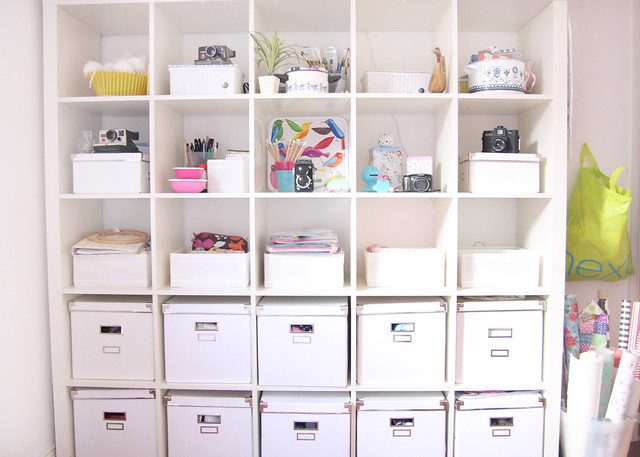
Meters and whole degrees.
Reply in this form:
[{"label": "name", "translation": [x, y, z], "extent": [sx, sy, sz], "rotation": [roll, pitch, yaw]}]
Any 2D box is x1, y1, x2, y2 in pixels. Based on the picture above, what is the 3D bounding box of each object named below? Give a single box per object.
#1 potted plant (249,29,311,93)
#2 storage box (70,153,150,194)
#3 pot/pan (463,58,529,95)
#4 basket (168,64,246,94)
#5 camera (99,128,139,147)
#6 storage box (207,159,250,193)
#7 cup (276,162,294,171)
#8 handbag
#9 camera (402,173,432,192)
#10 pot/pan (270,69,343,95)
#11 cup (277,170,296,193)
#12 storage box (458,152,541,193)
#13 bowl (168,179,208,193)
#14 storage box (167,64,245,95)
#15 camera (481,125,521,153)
[{"label": "potted plant", "translation": [-0.248, -0.862, 3.218], "extent": [0.296, 0.283, 0.237], "rotation": [6, 8, -1]}, {"label": "storage box", "translation": [-1.116, -0.289, 3.193], "extent": [0.324, 0.161, 0.230], "rotation": [0, 1, -3]}, {"label": "pot/pan", "translation": [0.910, -0.818, 3.297], "extent": [0.333, 0.155, 0.314], "rotation": [0, 13, 7]}, {"label": "basket", "translation": [-0.582, -0.778, 3.313], "extent": [0.395, 0.155, 0.298], "rotation": [3, 4, 14]}, {"label": "camera", "translation": [-1.074, -0.482, 3.251], "extent": [0.193, 0.090, 0.099], "rotation": [0, 4, -20]}, {"label": "storage box", "translation": [-0.490, -0.275, 3.207], "extent": [0.194, 0.149, 0.188], "rotation": [0, 4, -4]}, {"label": "cup", "translation": [-0.191, -0.327, 3.213], "extent": [0.096, 0.044, 0.026], "rotation": [2, 4, 17]}, {"label": "handbag", "translation": [1.572, -0.086, 3.424], "extent": [0.347, 0.767, 0.246], "rotation": [3, 4, 26]}, {"label": "camera", "translation": [0.512, -0.237, 3.224], "extent": [0.149, 0.095, 0.098], "rotation": [0, -3, 3]}, {"label": "pot/pan", "translation": [-0.040, -0.763, 3.208], "extent": [0.194, 0.068, 0.209], "rotation": [-2, 5, -20]}, {"label": "cup", "translation": [-0.186, -0.251, 3.221], "extent": [0.114, 0.104, 0.104], "rotation": [-1, 2, 0]}, {"label": "storage box", "translation": [0.930, -0.292, 3.351], "extent": [0.446, 0.206, 0.338], "rotation": [-1, 2, -20]}, {"label": "bowl", "translation": [-0.693, -0.220, 3.185], "extent": [0.186, 0.074, 0.070], "rotation": [0, 4, -11]}, {"label": "storage box", "translation": [-0.601, -0.771, 3.210], "extent": [0.380, 0.160, 0.140], "rotation": [1, 4, -7]}, {"label": "camera", "translation": [0.948, -0.467, 3.252], "extent": [0.197, 0.145, 0.163], "rotation": [3, 4, 21]}]
